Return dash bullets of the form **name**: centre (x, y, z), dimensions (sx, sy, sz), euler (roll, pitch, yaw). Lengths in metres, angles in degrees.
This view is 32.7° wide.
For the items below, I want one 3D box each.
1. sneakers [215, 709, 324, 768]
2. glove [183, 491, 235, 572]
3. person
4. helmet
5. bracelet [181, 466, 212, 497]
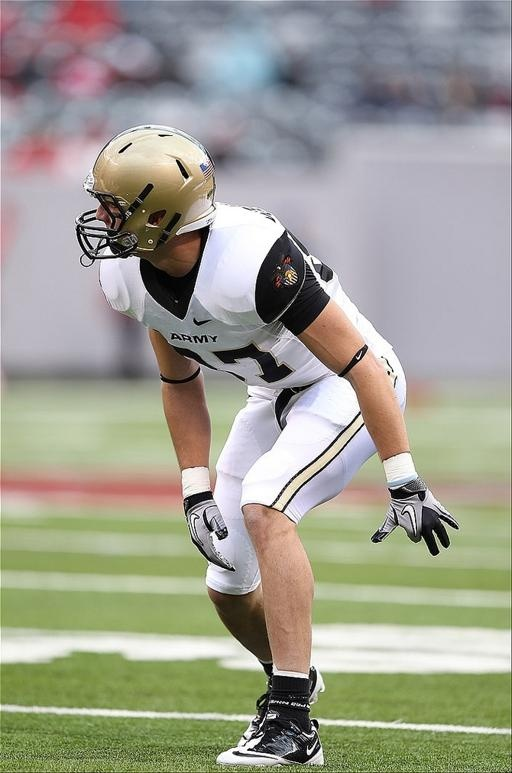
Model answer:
- **sneakers**: centre (-0.007, 0.787, 1.975), dimensions (0.301, 0.129, 0.098), euler (2, -4, -6)
- **glove**: centre (-0.117, 0.357, 2.245), dimensions (0.103, 0.149, 0.194), euler (-23, 53, -29)
- **person**: centre (-0.005, 0.190, 2.172), dimensions (0.852, 1.631, 0.670), euler (-2, 4, -19)
- **helmet**: centre (-0.191, -0.452, 2.029), dimensions (0.396, 0.292, 0.279), euler (3, 17, 0)
- **bracelet**: centre (-0.165, 0.251, 2.325), dimensions (0.090, 0.075, 0.079), euler (0, -11, -12)
